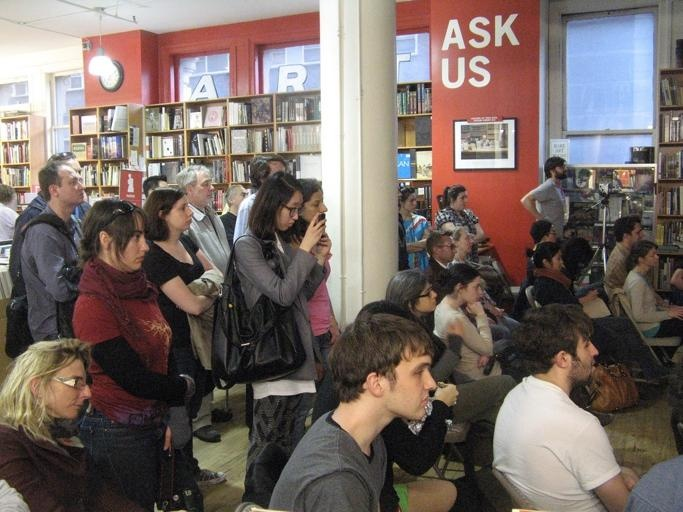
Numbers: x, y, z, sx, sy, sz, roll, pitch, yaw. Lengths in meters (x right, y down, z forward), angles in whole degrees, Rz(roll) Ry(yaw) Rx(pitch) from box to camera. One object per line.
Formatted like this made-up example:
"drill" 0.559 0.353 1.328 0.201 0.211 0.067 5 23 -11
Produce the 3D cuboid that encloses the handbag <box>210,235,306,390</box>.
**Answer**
"handbag" -0.437 0.243 2.853 0.499 0.763 0.367 -5 19 -14

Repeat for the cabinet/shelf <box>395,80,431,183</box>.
"cabinet/shelf" 0.990 -1.816 8.565 0.319 1.244 0.652 5 18 -9

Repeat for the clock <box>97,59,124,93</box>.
"clock" -3.880 -3.042 9.496 0.524 0.583 0.094 5 2 22

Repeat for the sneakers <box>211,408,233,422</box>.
"sneakers" -0.929 1.233 4.353 0.143 0.147 0.072 0 6 -9

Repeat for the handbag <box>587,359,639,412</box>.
"handbag" 2.125 0.999 4.369 0.396 0.420 0.202 -2 -17 -12

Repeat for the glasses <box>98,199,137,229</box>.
"glasses" -0.968 -0.188 2.431 0.119 0.038 0.108 -34 9 16

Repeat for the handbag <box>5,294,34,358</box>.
"handbag" -1.965 0.446 3.415 0.111 0.398 0.298 -8 9 -41

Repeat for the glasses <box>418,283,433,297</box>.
"glasses" 0.491 0.198 3.275 0.070 0.023 0.071 -12 18 32

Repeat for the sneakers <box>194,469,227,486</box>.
"sneakers" -0.810 1.374 3.552 0.214 0.106 0.085 0 4 -7

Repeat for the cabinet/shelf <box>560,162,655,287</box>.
"cabinet/shelf" 3.355 -0.717 7.110 0.999 1.296 0.833 2 31 22
